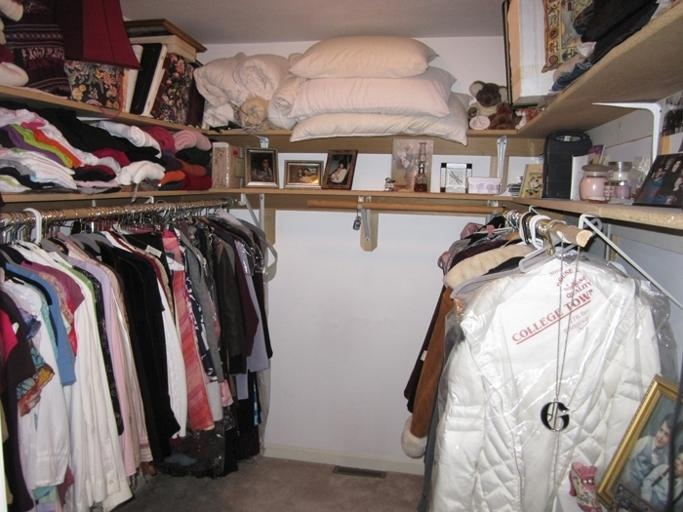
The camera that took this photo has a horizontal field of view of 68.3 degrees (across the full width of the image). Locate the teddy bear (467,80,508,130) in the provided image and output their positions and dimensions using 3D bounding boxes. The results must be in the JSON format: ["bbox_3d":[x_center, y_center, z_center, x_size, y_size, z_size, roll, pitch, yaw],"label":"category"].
[{"bbox_3d":[0.740,-0.763,2.541,0.179,0.209,0.114,14,38,16],"label":"teddy bear"}]

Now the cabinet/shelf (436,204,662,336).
[{"bbox_3d":[0.565,-0.029,1.676,0.234,0.378,0.862,-5,13,-8],"label":"cabinet/shelf"}]

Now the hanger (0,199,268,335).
[{"bbox_3d":[-0.895,-0.028,2.447,0.407,0.517,1.491,11,13,33],"label":"hanger"}]

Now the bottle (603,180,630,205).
[{"bbox_3d":[0.819,-0.188,1.492,0.084,0.084,0.053,-1,0,44],"label":"bottle"}]
